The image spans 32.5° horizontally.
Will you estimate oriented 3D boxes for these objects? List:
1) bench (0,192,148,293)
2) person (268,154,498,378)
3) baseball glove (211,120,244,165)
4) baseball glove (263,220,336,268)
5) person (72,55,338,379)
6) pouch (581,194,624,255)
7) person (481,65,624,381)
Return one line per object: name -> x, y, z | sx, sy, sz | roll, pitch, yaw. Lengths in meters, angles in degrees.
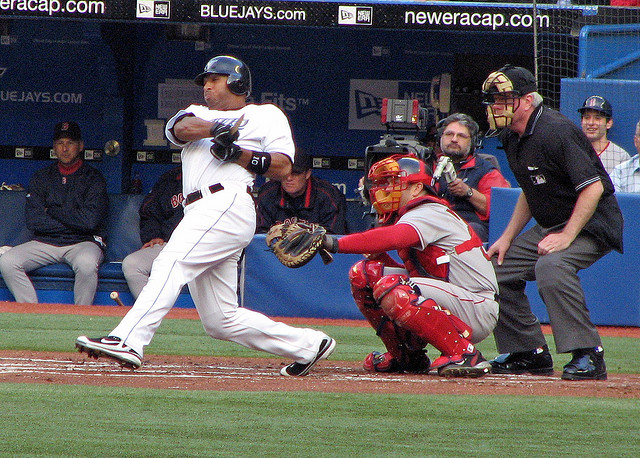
bench -> -2.331, 0.123, 10.163 | 1.819, 1.032, 0.887 | 0, -1, -1
person -> 0.400, 0.207, 6.961 | 1.590, 1.193, 0.971 | 3, -1, -8
baseball glove -> -0.548, -0.503, 6.658 | 0.130, 0.296, 0.136 | 5, 46, 11
baseball glove -> -0.152, 0.133, 6.767 | 0.495, 0.170, 0.354 | -27, -9, 13
person -> -0.603, -0.059, 6.749 | 1.336, 1.920, 0.970 | -1, 14, -9
pouch -> 1.808, -0.014, 6.975 | 0.309, 0.375, 0.131 | -12, 19, -43
person -> 1.548, -0.024, 7.140 | 1.188, 1.932, 1.138 | 2, -5, -17
